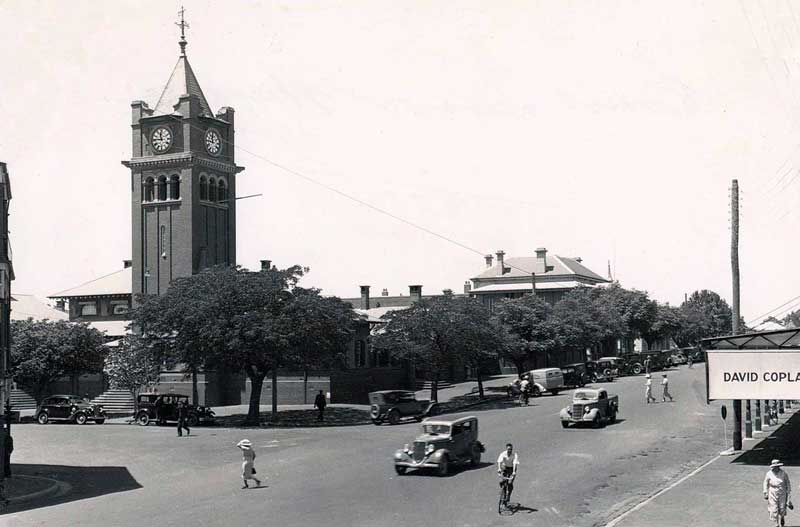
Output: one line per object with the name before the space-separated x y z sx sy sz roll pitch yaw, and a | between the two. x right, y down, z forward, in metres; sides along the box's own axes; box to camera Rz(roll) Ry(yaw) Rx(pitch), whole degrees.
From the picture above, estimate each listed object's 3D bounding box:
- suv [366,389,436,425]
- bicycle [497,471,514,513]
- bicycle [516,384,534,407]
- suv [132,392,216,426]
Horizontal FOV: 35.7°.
suv | -0.323 10.635 91.599 3.889 2.605 7.088 2 3 -4
bicycle | 5.382 11.594 63.777 0.885 2.036 1.037 -4 -8 3
bicycle | 9.719 10.229 96.888 1.002 0.944 1.668 -2 -9 12
suv | -17.302 10.839 92.430 6.422 2.355 2.686 -1 -4 3
